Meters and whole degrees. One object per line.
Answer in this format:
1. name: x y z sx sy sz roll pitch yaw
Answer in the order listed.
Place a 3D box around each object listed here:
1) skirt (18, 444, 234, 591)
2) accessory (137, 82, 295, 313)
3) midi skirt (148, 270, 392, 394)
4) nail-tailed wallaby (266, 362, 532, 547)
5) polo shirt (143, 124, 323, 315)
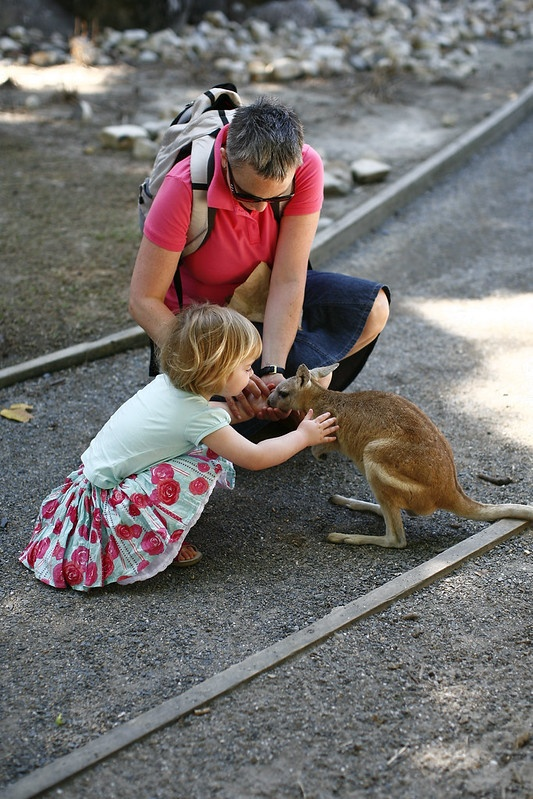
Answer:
1. skirt: -0.470 0.431 2.837 0.611 0.316 0.741 -5 19 -33
2. accessory: -0.312 -0.805 3.197 0.405 0.890 0.644 2 19 -5
3. midi skirt: 0.127 -0.279 3.660 0.694 0.254 0.720 12 36 35
4. nail-tailed wallaby: 0.523 0.248 3.269 1.177 0.519 0.327 14 30 14
5. polo shirt: -0.160 -0.659 3.120 0.527 0.733 0.467 -17 30 -33
